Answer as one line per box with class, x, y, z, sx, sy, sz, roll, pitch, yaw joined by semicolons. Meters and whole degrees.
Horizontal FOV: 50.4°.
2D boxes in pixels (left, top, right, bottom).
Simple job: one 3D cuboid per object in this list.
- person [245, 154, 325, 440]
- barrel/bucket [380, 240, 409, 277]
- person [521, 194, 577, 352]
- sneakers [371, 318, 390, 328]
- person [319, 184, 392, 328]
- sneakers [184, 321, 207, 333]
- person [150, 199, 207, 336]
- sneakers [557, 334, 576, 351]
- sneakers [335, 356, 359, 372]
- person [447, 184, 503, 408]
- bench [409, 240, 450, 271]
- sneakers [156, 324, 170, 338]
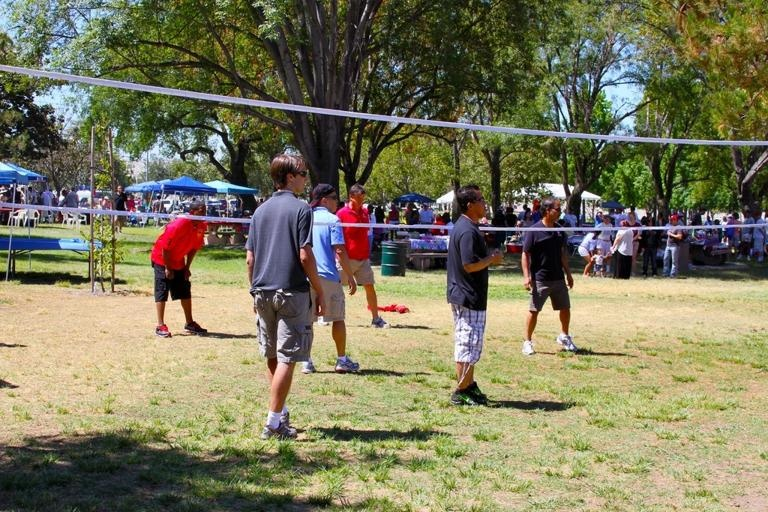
person;-1.083;0.446;9.154;0.808;3.114;0.615;-1;8;-11
barrel/bucket;0.284;0.075;22.910;0.879;0.920;0.854;1;-1;0
person;2.513;0.291;12.464;1.017;2.384;0.802;-1;8;-10
sneakers;-0.056;1.158;14.080;0.299;0.175;0.145;0;6;-7
person;-0.558;-0.014;13.446;1.188;2.502;1.004;-16;29;-34
sneakers;-3.032;1.147;13.095;0.356;0.162;0.152;7;5;-7
person;-3.210;0.342;12.850;0.771;1.873;0.443;-2;9;-18
sneakers;2.838;1.356;12.716;0.279;0.131;0.111;31;42;19
sneakers;-0.501;1.486;11.305;0.341;0.210;0.222;0;9;-9
person;1.098;0.495;10.058;0.673;2.676;0.471;5;9;28
bench;1.323;-0.039;24.871;1.182;0.989;1.496;1;9;2
sneakers;-3.418;1.184;12.747;0.137;0.142;0.311;-1;2;-43
